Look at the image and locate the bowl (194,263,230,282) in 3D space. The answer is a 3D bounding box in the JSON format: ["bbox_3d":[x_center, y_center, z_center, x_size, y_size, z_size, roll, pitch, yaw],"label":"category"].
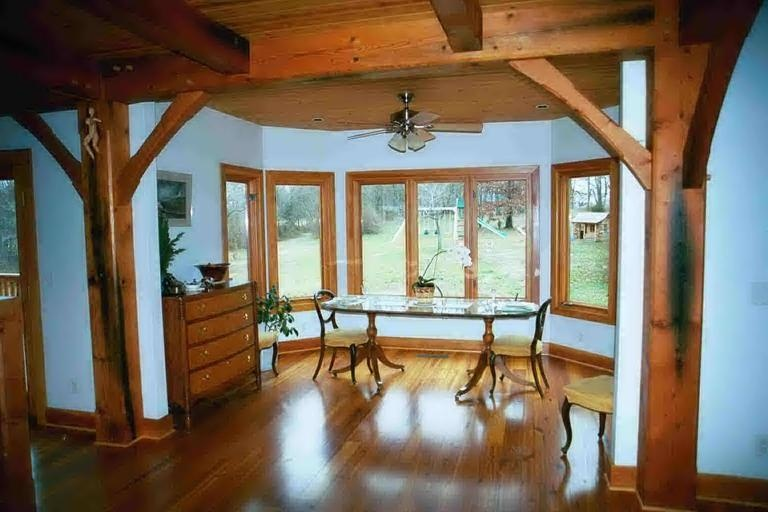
[{"bbox_3d":[-1.737,0.155,5.944,0.292,0.127,0.250,-2,-3,-4],"label":"bowl"}]

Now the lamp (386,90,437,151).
[{"bbox_3d":[0.276,-1.279,5.521,0.616,0.468,0.553,0,9,11],"label":"lamp"}]

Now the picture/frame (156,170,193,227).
[{"bbox_3d":[-2.185,-0.611,5.980,0.025,0.594,0.593,-1,8,25],"label":"picture/frame"}]

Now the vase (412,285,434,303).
[{"bbox_3d":[0.435,0.420,6.423,0.189,0.145,0.200,-3,-4,36],"label":"vase"}]

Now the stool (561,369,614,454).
[{"bbox_3d":[1.755,1.360,5.022,0.420,0.650,0.936,0,5,20],"label":"stool"}]

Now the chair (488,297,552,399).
[{"bbox_3d":[1.481,0.923,6.361,0.610,1.051,0.951,-1,4,13],"label":"chair"}]
